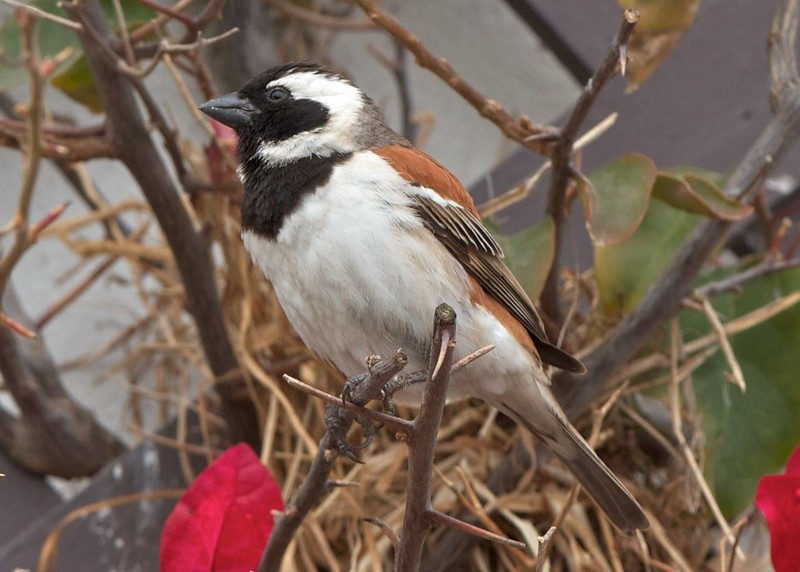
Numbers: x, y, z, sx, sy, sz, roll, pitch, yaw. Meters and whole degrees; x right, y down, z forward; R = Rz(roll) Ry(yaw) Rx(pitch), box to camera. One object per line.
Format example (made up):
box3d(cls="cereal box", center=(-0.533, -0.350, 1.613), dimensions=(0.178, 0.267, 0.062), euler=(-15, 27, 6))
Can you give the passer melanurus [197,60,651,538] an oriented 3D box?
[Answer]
box3d(cls="passer melanurus", center=(-0.016, -0.062, 1.810), dimensions=(0.699, 1.145, 1.043), euler=(-20, 25, -34))
